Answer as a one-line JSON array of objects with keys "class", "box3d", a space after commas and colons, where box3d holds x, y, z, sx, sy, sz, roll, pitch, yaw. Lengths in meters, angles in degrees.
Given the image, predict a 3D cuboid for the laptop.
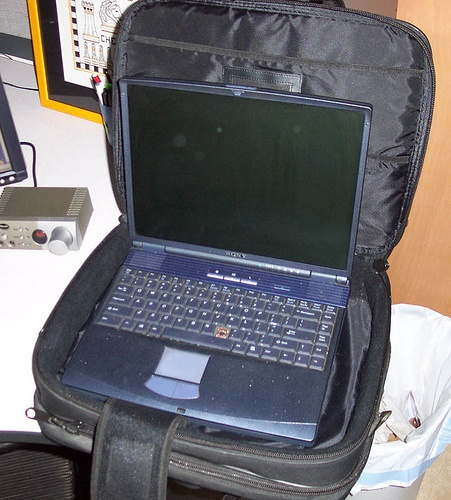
[{"class": "laptop", "box3d": [-0.026, 0.001, 0.595, 0.369, 0.252, 0.367, 11, 47, 17]}]
